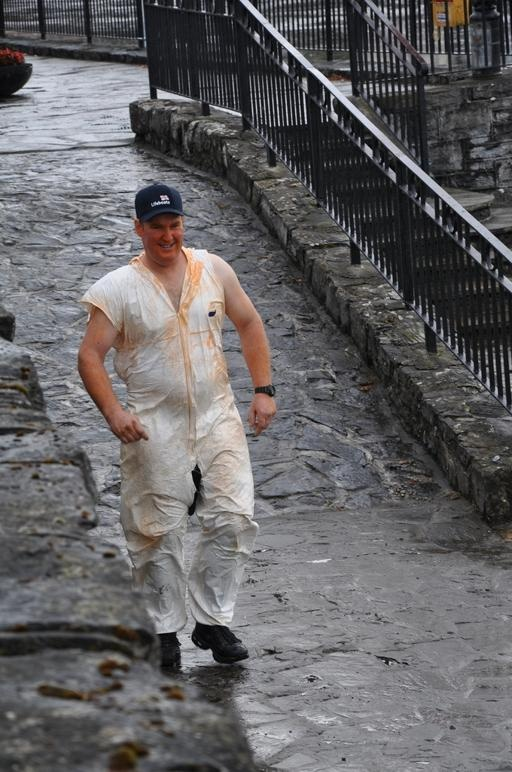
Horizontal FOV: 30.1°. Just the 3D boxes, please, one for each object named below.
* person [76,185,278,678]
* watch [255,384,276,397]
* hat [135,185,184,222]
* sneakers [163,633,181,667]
[{"bbox_3d":[-0.233,0.156,3.451,0.729,1.740,0.599,-7,16,-23],"label":"person"},{"bbox_3d":[0.022,0.014,3.681,0.059,0.026,0.056,-3,0,15],"label":"watch"},{"bbox_3d":[-0.360,-0.665,3.443,0.129,0.094,0.173,-4,9,-17],"label":"hat"},{"bbox_3d":[-0.312,0.949,3.406,0.053,0.096,0.145,-1,2,-6],"label":"sneakers"}]
